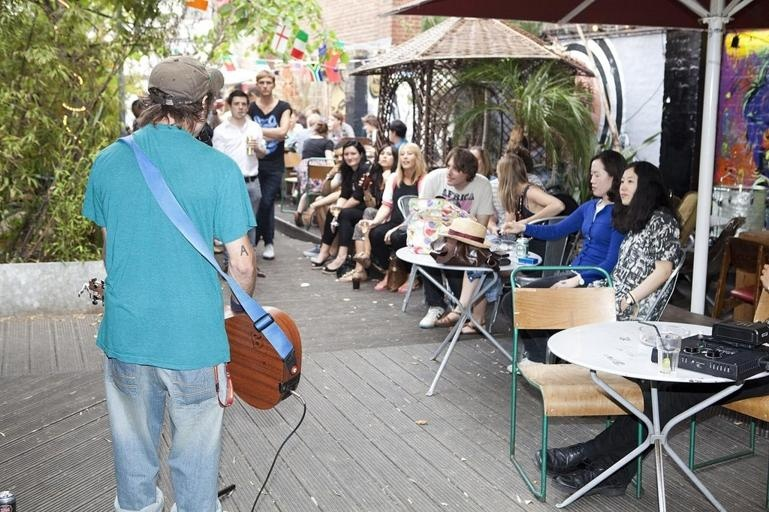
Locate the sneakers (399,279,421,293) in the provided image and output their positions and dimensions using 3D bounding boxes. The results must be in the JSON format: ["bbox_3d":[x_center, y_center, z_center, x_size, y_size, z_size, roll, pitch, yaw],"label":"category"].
[{"bbox_3d":[0.343,0.361,7.698,0.365,0.154,0.131,-17,8,-35],"label":"sneakers"}]

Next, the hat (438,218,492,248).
[{"bbox_3d":[0.701,-0.198,4.937,0.296,0.121,0.257,21,1,-10],"label":"hat"}]

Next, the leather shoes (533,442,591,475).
[{"bbox_3d":[1.149,1.293,3.811,0.452,0.167,0.167,-6,-18,2],"label":"leather shoes"}]

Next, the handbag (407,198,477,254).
[{"bbox_3d":[0.518,-0.285,5.593,0.554,0.539,0.451,5,0,2],"label":"handbag"}]

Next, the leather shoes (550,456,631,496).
[{"bbox_3d":[1.299,1.386,3.759,0.521,0.199,0.191,1,43,-5],"label":"leather shoes"}]

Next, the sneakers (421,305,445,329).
[{"bbox_3d":[0.521,0.645,6.451,0.127,0.147,0.358,10,25,30],"label":"sneakers"}]
